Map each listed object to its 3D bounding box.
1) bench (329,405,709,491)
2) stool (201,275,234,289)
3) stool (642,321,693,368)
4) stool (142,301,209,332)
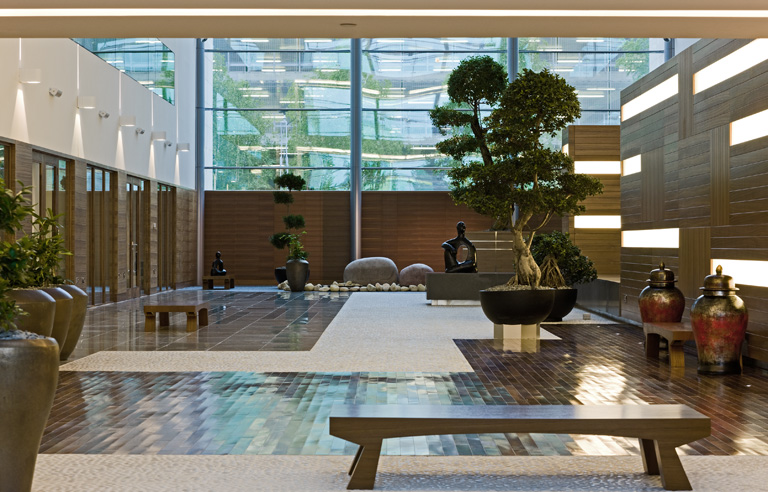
[{"bbox_3d":[0.876,1.352,3.724,2.435,0.586,0.346,2,10,0],"label":"bench"},{"bbox_3d":[-5.242,1.100,17.615,0.798,0.287,0.699,0,0,8],"label":"stool"},{"bbox_3d":[3.584,1.129,6.997,0.537,0.363,0.871,0,-5,2],"label":"stool"},{"bbox_3d":[-3.664,1.162,9.460,0.988,0.264,0.628,0,-4,5],"label":"stool"}]
